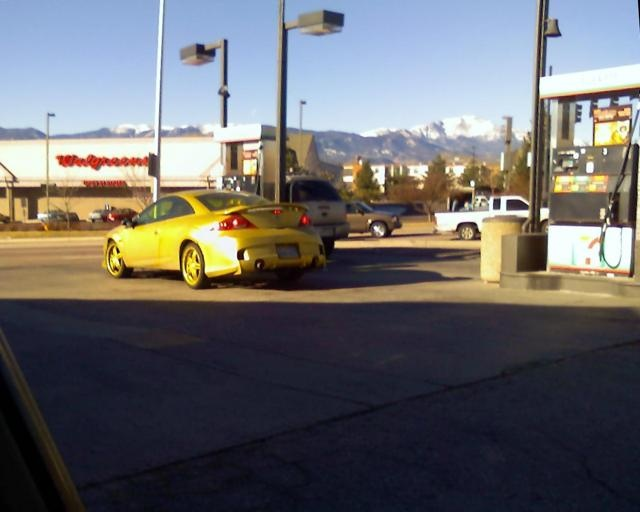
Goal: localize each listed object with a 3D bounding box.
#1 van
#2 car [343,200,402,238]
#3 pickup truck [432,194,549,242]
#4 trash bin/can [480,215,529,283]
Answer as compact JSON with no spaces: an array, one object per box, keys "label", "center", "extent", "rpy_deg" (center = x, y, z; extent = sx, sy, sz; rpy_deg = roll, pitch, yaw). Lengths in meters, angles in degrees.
[{"label":"van","center":[-0.022,-1.542,17.984],"extent":[1.473,2.943,1.722],"rpy_deg":[-1,7,-25]},{"label":"car","center":[2.889,-1.966,31.482],"extent":[2.921,1.744,1.709],"rpy_deg":[-2,6,1]},{"label":"pickup truck","center":[7.760,-1.920,27.930],"extent":[5.922,2.950,3.101],"rpy_deg":[-3,4,12]},{"label":"trash bin/can","center":[3.635,-0.150,11.797],"extent":[0.892,1.295,0.596],"rpy_deg":[-3,5,-32]}]
